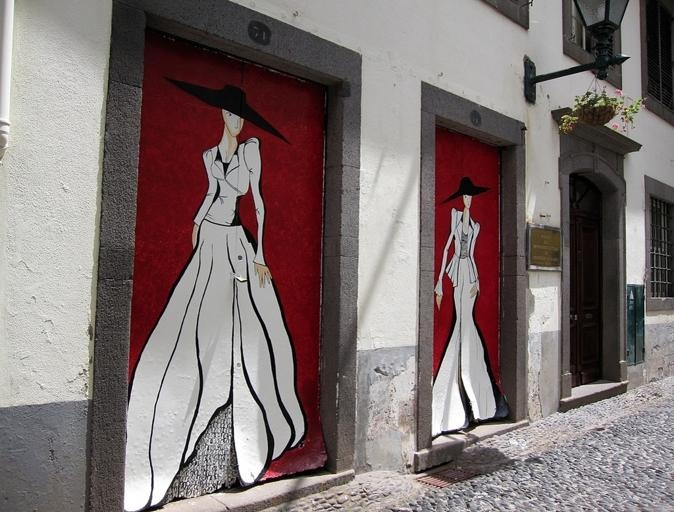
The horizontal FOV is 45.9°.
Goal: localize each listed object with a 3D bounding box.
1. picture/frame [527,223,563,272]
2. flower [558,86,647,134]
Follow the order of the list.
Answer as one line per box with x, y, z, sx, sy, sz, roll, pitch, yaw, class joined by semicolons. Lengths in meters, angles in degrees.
2.357;-0.091;9.052;0.105;0.554;0.745;9;11;42;picture/frame
3.189;-1.777;9.656;0.815;0.452;0.684;-8;-32;17;flower
